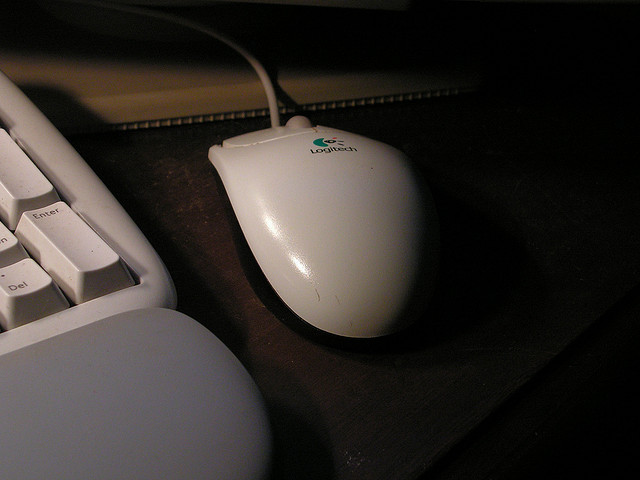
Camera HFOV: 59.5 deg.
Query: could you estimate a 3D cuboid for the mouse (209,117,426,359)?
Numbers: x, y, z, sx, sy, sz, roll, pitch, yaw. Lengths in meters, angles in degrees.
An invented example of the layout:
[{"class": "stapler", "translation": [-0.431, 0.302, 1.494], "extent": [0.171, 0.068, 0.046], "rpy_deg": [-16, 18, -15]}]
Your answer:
[{"class": "mouse", "translation": [0.010, -0.015, 0.441], "extent": [0.152, 0.092, 0.207], "rpy_deg": [-14, 38, -13]}]
